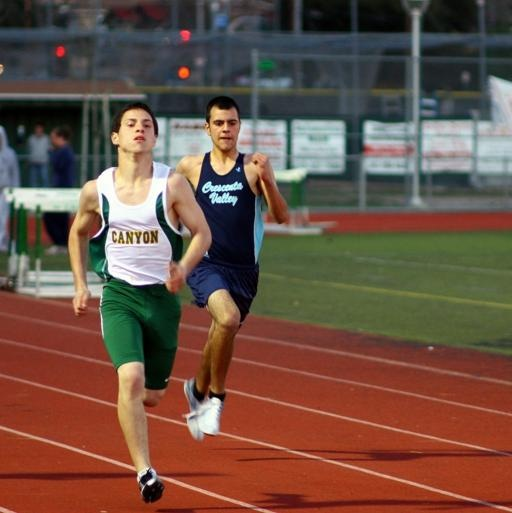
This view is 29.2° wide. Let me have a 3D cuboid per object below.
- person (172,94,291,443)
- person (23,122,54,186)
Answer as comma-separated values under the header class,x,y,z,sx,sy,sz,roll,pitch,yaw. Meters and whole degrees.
class,x,y,z,sx,sy,sz,roll,pitch,yaw
person,-0.122,0.031,5.143,0.647,1.582,0.720,0,2,-12
person,-4.561,-1.978,20.752,0.560,1.567,0.532,-1,8,-3
